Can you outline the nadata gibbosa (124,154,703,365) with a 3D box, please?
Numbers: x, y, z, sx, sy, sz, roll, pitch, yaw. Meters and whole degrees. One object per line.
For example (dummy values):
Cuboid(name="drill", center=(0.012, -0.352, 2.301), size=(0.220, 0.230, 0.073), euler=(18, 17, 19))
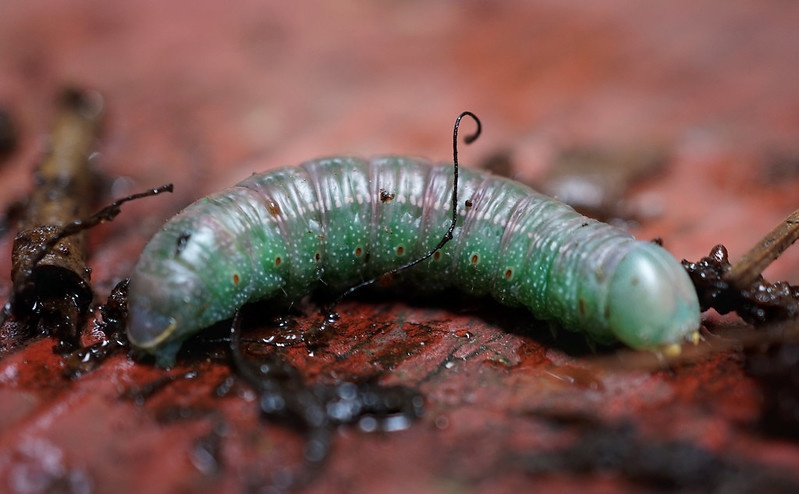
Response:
Cuboid(name="nadata gibbosa", center=(0.088, -0.005, 4.943), size=(3.365, 0.785, 1.587), euler=(1, 35, 1))
